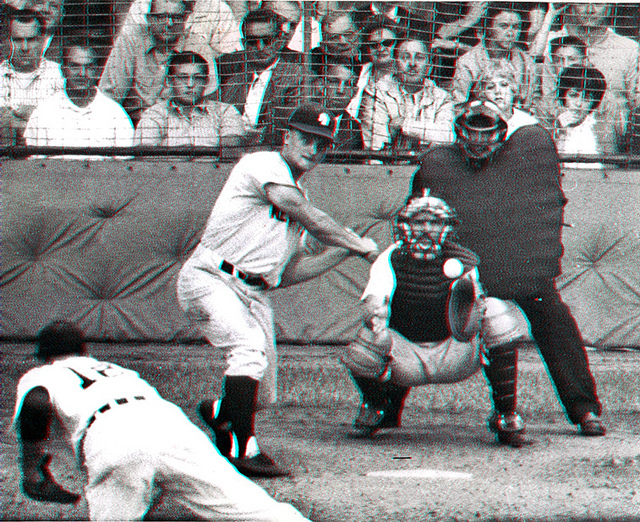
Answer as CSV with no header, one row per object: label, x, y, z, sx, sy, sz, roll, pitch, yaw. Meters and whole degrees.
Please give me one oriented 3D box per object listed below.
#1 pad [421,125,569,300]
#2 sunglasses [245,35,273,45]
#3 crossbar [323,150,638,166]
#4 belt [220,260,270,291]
pad,0.667,-0.207,4.440,0.642,0.615,0.456,3,15,2
sunglasses,-0.246,-0.899,4.503,0.108,0.044,0.028,3,29,0
crossbar,0.687,-0.453,4.529,0.993,0.068,0.292,3,13,2
belt,-0.292,0.055,4.172,0.230,0.050,0.048,22,3,-11
